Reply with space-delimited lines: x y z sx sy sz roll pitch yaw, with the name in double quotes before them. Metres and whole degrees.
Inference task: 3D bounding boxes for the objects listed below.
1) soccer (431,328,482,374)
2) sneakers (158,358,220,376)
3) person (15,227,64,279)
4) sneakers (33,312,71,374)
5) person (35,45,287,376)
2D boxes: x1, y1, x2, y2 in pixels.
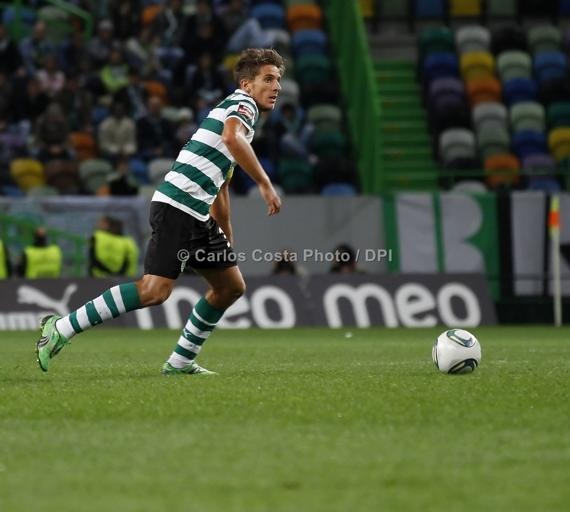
"soccer" 1.151 0.644 7.245 0.319 0.278 0.308 0 8 37
"sneakers" -0.654 0.761 7.147 0.390 0.142 0.122 1 -2 -1
"person" -3.123 -0.039 13.244 0.652 0.691 0.420 3 13 -5
"sneakers" -1.532 0.571 6.949 0.235 0.407 0.158 3 -1 10
"person" -0.756 -0.257 7.068 1.575 2.224 0.736 -2 10 1
